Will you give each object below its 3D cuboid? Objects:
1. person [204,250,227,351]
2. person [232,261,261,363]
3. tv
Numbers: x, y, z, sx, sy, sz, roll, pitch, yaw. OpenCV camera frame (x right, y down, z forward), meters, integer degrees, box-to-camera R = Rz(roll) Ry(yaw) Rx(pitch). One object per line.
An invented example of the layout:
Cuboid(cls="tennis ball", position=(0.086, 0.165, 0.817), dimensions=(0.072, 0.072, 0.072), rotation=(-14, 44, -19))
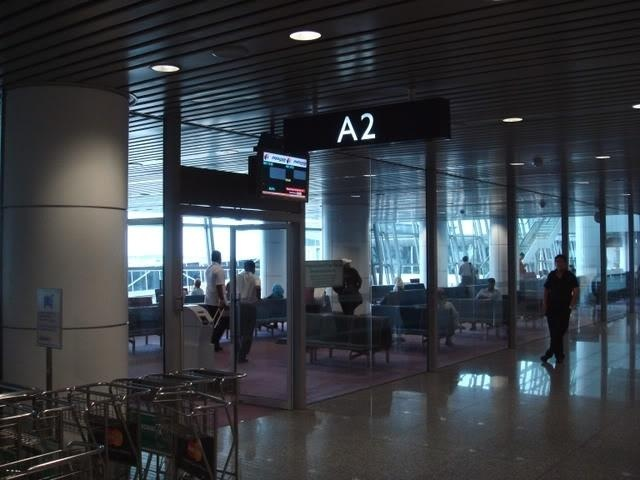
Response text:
Cuboid(cls="person", position=(-1.377, 0.760, 7.410), dimensions=(0.316, 1.233, 0.586), rotation=(0, -2, -9))
Cuboid(cls="person", position=(-0.966, 0.962, 7.506), dimensions=(0.317, 1.371, 0.105), rotation=(0, -2, -7))
Cuboid(cls="tv", position=(-0.445, -0.814, 6.269), dimensions=(0.305, 0.808, 0.890), rotation=(-4, -6, 42))
